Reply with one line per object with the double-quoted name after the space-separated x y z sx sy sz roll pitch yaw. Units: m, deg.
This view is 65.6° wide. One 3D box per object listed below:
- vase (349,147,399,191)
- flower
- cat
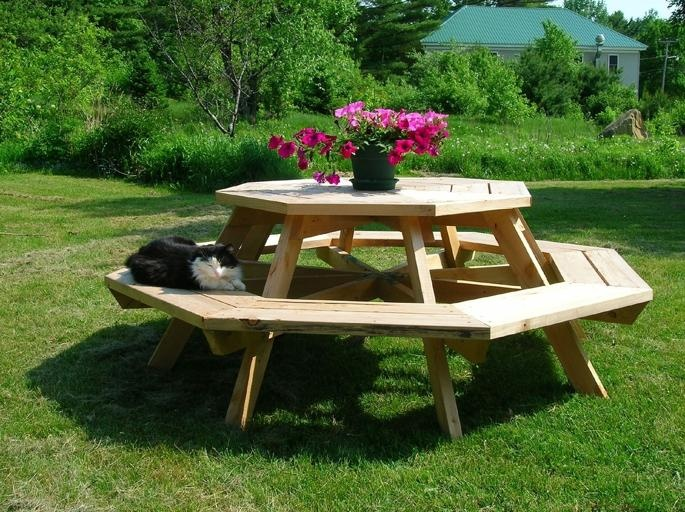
0.217 -0.606 3.730 0.378 0.258 0.369 -10 14 -40 "vase"
0.195 -0.759 3.866 1.356 0.553 0.920 7 7 29 "flower"
-0.940 0.046 3.228 0.637 0.211 0.320 7 25 10 "cat"
